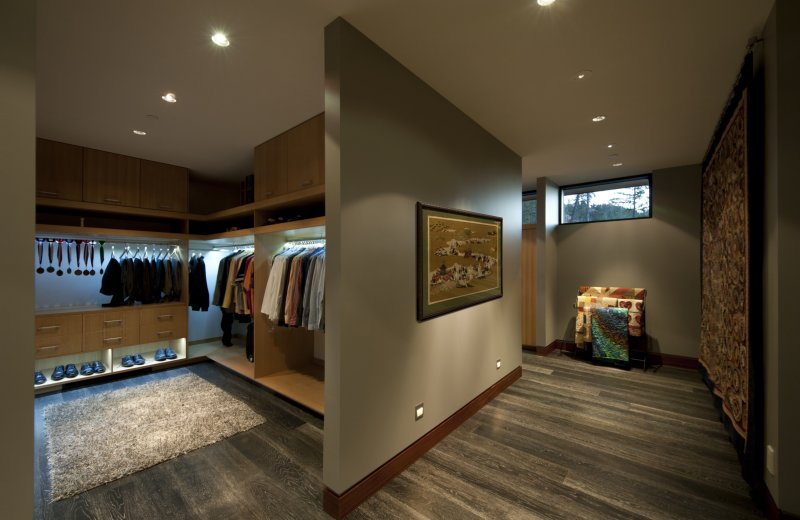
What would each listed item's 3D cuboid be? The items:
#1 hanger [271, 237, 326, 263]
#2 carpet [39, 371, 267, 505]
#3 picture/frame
[{"bbox_3d":[-1.246,-0.158,6.024,0.448,0.118,0.415,-2,11,29],"label":"hanger"},{"bbox_3d":[-2.834,1.733,5.412,1.908,0.048,2.072,-7,11,-43],"label":"carpet"},{"bbox_3d":[0.604,0.026,5.138,0.049,0.902,1.299,-2,-2,41],"label":"picture/frame"}]
